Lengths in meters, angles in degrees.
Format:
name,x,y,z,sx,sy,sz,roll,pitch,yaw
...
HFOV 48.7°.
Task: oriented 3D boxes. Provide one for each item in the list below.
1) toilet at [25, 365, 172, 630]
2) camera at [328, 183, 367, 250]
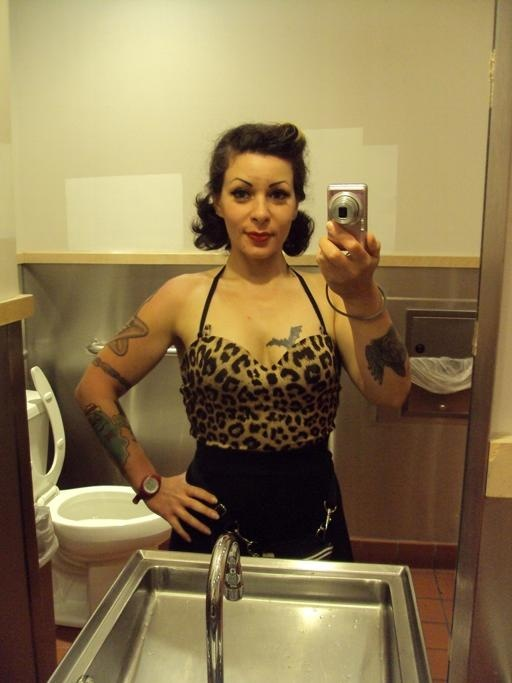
name,x,y,z,sx,sy,sz,roll,pitch,yaw
toilet,-0.338,0.328,1.220,0.286,0.535,0.250,1,6,-2
camera,0.084,-0.116,0.517,0.036,0.054,0.032,-1,14,5
